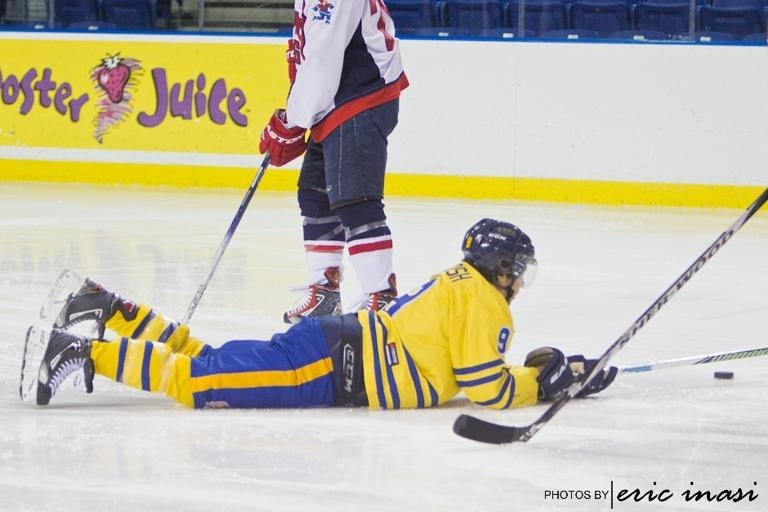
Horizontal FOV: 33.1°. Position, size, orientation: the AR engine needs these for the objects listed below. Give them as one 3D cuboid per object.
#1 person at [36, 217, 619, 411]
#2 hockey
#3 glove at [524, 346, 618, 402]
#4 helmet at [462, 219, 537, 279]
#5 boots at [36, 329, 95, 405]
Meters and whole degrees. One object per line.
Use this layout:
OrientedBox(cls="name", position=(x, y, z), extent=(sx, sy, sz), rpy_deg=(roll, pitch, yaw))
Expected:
OrientedBox(cls="person", position=(-0.141, 0.204, 6.497), extent=(3.059, 0.879, 1.025), rpy_deg=(0, 4, -5))
OrientedBox(cls="hockey", position=(1.248, 0.349, 7.055), extent=(0.258, 2.009, 0.171), rpy_deg=(53, 1, 25))
OrientedBox(cls="glove", position=(0.902, 0.570, 6.216), extent=(0.381, 0.159, 0.271), rpy_deg=(0, 12, -8))
OrientedBox(cls="helmet", position=(0.512, -0.049, 6.297), extent=(0.353, 0.294, 0.268), rpy_deg=(5, 13, -19))
OrientedBox(cls="boots", position=(-1.459, 0.511, 6.090), extent=(0.241, 0.449, 0.161), rpy_deg=(7, -8, 11))
